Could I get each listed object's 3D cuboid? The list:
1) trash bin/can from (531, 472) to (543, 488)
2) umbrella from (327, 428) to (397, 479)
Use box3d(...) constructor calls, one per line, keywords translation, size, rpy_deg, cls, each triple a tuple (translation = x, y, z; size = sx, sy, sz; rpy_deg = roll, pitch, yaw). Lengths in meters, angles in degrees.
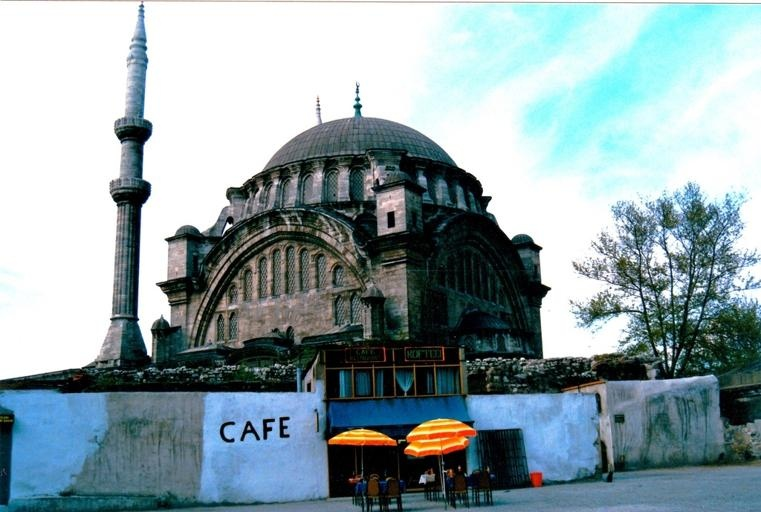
box3d(translation=(6.535, 9.428, 32.745), size=(0.527, 0.620, 0.499), rpy_deg=(2, -20, -7), cls="trash bin/can")
box3d(translation=(-0.718, 7.833, 29.714), size=(2.342, 1.526, 2.474), rpy_deg=(-27, -35, 35), cls="umbrella")
